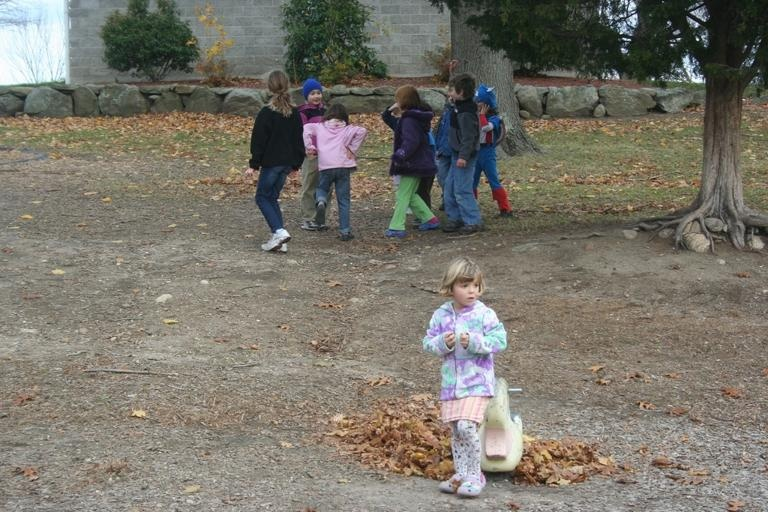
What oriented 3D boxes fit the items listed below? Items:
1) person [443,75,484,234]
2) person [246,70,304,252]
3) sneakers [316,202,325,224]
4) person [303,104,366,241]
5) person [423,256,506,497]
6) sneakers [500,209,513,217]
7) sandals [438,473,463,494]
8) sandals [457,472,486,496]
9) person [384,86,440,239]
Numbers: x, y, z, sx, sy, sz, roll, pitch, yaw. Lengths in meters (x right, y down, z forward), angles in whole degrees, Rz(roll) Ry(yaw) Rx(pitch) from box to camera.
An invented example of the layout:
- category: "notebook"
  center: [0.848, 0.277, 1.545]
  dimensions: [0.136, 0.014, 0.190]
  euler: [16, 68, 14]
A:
- category: "person"
  center: [1.095, -1.435, 11.927]
  dimensions: [0.516, 2.251, 0.664]
  euler: [-8, 13, -16]
- category: "person"
  center: [-1.426, -1.261, 11.247]
  dimensions: [0.743, 2.455, 0.560]
  euler: [-5, 13, -5]
- category: "sneakers"
  center: [-0.913, -0.639, 12.055]
  dimensions: [0.174, 0.312, 0.134]
  euler: [5, 47, -4]
- category: "person"
  center: [-0.670, -1.194, 11.960]
  dimensions: [0.858, 1.965, 0.664]
  euler: [-4, 12, -2]
- category: "person"
  center: [0.615, 0.981, 6.839]
  dimensions: [0.628, 1.911, 0.644]
  euler: [2, 14, 25]
- category: "sneakers"
  center: [1.862, -0.646, 12.846]
  dimensions: [0.197, 0.113, 0.091]
  euler: [-5, 10, 2]
- category: "sandals"
  center: [0.542, 1.869, 6.812]
  dimensions: [0.115, 0.077, 0.238]
  euler: [-1, -2, 21]
- category: "sandals"
  center: [0.706, 1.860, 6.816]
  dimensions: [0.191, 0.163, 0.228]
  euler: [0, 9, 13]
- category: "person"
  center: [0.350, -1.368, 12.159]
  dimensions: [0.781, 2.159, 0.778]
  euler: [-3, 12, 3]
